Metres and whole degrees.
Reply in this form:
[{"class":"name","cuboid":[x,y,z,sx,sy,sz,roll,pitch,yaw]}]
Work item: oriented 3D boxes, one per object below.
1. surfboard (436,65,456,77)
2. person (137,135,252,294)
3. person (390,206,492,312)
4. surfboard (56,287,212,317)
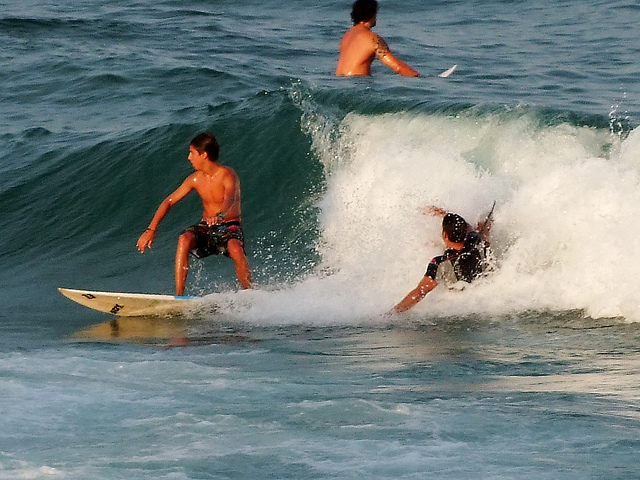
[{"class":"surfboard","cuboid":[1.993,-2.530,15.711,0.146,0.031,0.471,13,33,42]},{"class":"person","cuboid":[-1.364,-0.303,11.769,1.036,1.559,1.030,-4,29,-9]},{"class":"person","cuboid":[1.450,0.230,11.463,1.302,0.978,0.393,-19,35,-34]},{"class":"surfboard","cuboid":[-2.091,0.713,11.741,1.797,0.241,0.177,3,32,11]}]
